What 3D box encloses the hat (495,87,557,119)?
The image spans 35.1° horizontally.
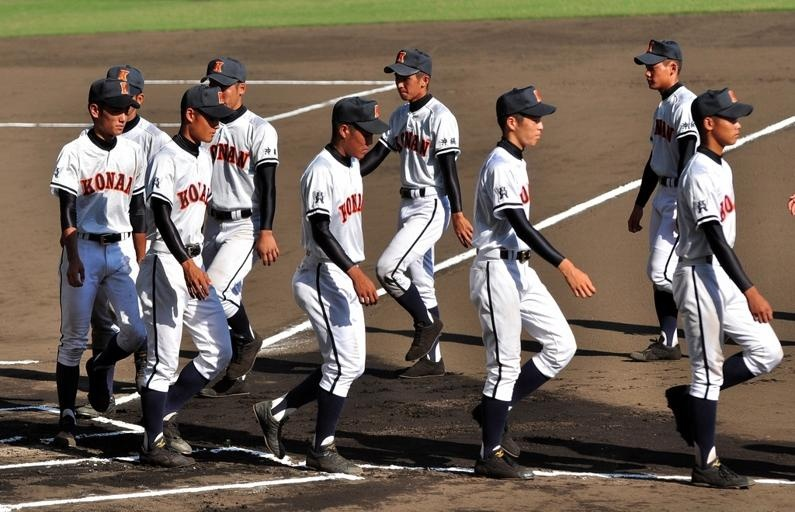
[{"bbox_3d":[1.306,-1.544,12.739,0.580,0.179,0.316,2,18,-1],"label":"hat"}]

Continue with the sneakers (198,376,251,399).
[{"bbox_3d":[-1.939,1.520,14.343,0.701,0.199,0.211,1,1,-5],"label":"sneakers"}]

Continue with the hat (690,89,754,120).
[{"bbox_3d":[3.276,-1.524,12.479,0.673,0.231,0.415,6,25,42],"label":"hat"}]

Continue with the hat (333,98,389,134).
[{"bbox_3d":[-0.375,-1.443,12.628,0.647,0.258,0.391,15,25,-1],"label":"hat"}]

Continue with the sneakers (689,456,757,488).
[{"bbox_3d":[3.144,2.128,12.221,0.669,0.212,0.229,0,-2,5],"label":"sneakers"}]

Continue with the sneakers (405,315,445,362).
[{"bbox_3d":[0.345,0.970,14.867,0.257,0.633,0.274,32,-6,44],"label":"sneakers"}]

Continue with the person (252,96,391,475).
[{"bbox_3d":[-0.717,0.291,12.595,1.195,3.674,1.032,-1,12,13],"label":"person"}]

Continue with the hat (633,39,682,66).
[{"bbox_3d":[3.167,-2.438,15.184,0.728,0.275,0.399,-7,12,-1],"label":"hat"}]

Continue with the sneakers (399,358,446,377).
[{"bbox_3d":[0.324,1.311,14.785,0.661,0.188,0.190,0,10,-7],"label":"sneakers"}]

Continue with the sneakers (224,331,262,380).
[{"bbox_3d":[-1.759,1.152,14.323,0.243,0.592,0.283,22,-10,31],"label":"sneakers"}]

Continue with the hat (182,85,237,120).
[{"bbox_3d":[-1.860,-1.562,12.737,0.638,0.270,0.391,10,10,33],"label":"hat"}]

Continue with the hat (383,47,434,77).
[{"bbox_3d":[0.144,-2.292,14.905,0.623,0.247,0.397,-2,10,-15],"label":"hat"}]

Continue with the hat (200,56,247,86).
[{"bbox_3d":[-1.946,-2.108,14.443,0.388,0.208,0.500,6,6,29],"label":"hat"}]

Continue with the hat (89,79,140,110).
[{"bbox_3d":[-2.968,-1.669,13.048,0.505,0.193,0.302,1,11,10],"label":"hat"}]

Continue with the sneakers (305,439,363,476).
[{"bbox_3d":[-0.610,2.017,12.538,0.685,0.223,0.214,5,8,29],"label":"sneakers"}]
